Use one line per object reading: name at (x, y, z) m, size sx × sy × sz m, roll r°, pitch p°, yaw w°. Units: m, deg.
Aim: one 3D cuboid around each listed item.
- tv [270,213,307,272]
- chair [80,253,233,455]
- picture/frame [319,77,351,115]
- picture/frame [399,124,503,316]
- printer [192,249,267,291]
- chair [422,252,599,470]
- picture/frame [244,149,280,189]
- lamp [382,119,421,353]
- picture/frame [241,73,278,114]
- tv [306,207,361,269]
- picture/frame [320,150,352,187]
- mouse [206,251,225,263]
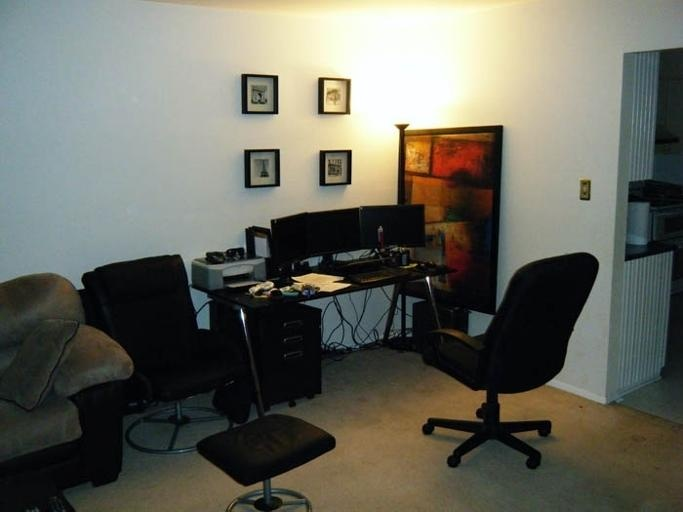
tv at (-0.430, -0.108, 4.742) m, size 0.044 × 0.390 × 0.429 m, roll 6°, pitch 11°, yaw 30°
chair at (-1.230, 0.690, 4.147) m, size 0.925 × 1.237 × 0.799 m, roll 11°, pitch 16°, yaw 43°
picture/frame at (-0.062, -1.483, 5.354) m, size 0.300 × 0.306 × 0.120 m, roll -3°, pitch 15°, yaw -17°
picture/frame at (1.034, -0.325, 5.278) m, size 0.074 × 2.218 × 1.505 m, roll -7°, pitch 11°, yaw -37°
printer at (-0.936, 0.139, 4.819) m, size 0.477 × 0.229 × 0.541 m, roll 9°, pitch 13°, yaw 40°
chair at (1.091, 0.642, 4.002) m, size 0.909 × 1.530 × 1.043 m, roll -5°, pitch 14°, yaw -18°
picture/frame at (-0.701, -0.774, 5.068) m, size 0.323 × 0.346 × 0.037 m, roll -3°, pitch 8°, yaw -37°
lamp at (0.599, -0.210, 5.751) m, size 0.448 × 2.201 × 0.366 m, roll -10°, pitch 13°, yaw -37°
picture/frame at (-0.711, -1.405, 4.971) m, size 0.327 × 0.333 × 0.065 m, roll -5°, pitch 9°, yaw -35°
tv at (-0.071, -0.169, 5.119) m, size 0.477 × 0.441 × 0.173 m, roll -8°, pitch 11°, yaw -33°
picture/frame at (-0.078, -0.809, 5.483) m, size 0.413 × 0.398 × 0.066 m, roll 12°, pitch 17°, yaw 38°
mouse at (-1.019, 0.010, 4.688) m, size 0.087 × 0.051 × 0.143 m, roll -6°, pitch 12°, yaw -22°
